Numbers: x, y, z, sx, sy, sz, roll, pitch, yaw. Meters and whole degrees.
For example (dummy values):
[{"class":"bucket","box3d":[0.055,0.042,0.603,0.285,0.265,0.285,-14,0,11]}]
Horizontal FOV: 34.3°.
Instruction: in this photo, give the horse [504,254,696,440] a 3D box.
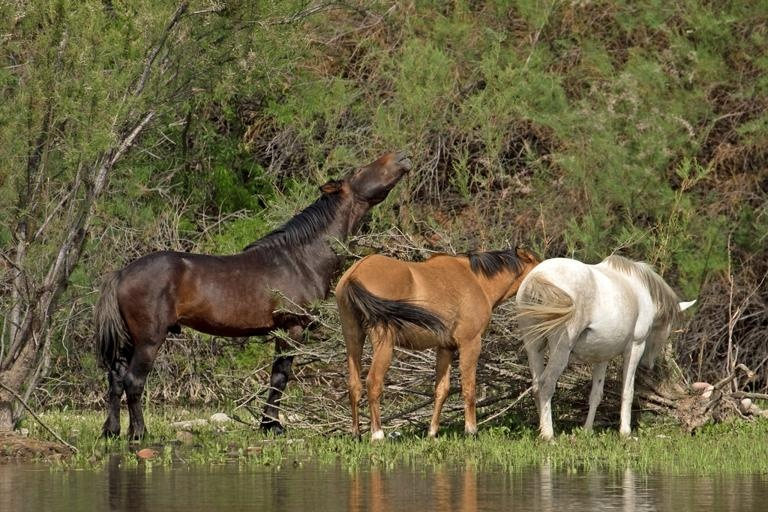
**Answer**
[{"class":"horse","box3d":[2.773,1.134,15.299,2.858,2.474,0.804,13,-10,-36]}]

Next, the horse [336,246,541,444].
[{"class":"horse","box3d":[0.529,1.005,14.735,2.212,2.357,0.801,4,-5,-28]}]
